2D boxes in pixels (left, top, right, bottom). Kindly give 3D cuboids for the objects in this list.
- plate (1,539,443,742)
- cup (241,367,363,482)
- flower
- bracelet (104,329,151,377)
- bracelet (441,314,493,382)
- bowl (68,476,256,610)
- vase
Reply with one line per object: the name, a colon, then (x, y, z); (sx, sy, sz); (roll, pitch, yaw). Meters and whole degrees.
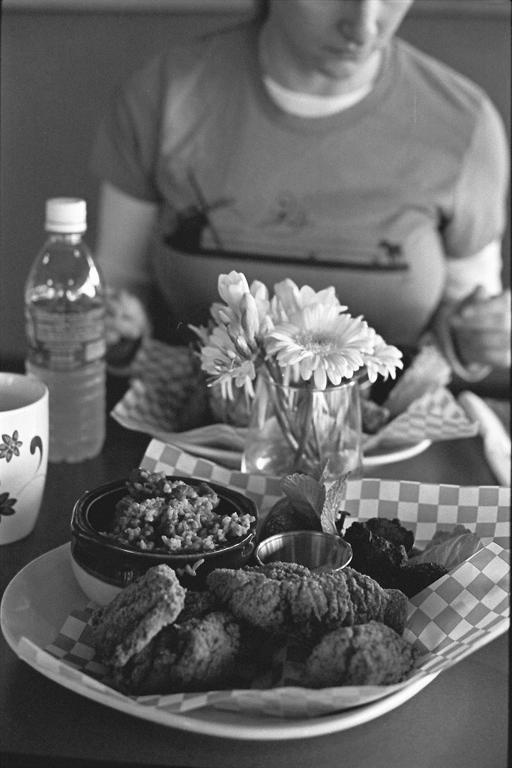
plate: (-0.050, 0.102, 0.327); (0.118, 0.018, 0.095); (7, 6, 12)
cup: (0.024, 0.023, 0.440); (0.072, 0.063, 0.068); (1, 10, 0)
flower: (0.033, -0.001, 0.424); (0.122, 0.124, 0.117); (-4, 10, -7)
bracelet: (-0.136, -0.037, 0.749); (0.040, 0.042, 0.043); (-1, 1, -17)
bracelet: (0.221, -0.035, 0.797); (0.017, 0.066, 0.070); (-21, 24, 1)
bowl: (-0.045, 0.059, 0.348); (0.077, 0.034, 0.072); (3, 11, -1)
vase: (0.027, 0.021, 0.453); (0.071, 0.063, 0.066); (1, 9, -3)
